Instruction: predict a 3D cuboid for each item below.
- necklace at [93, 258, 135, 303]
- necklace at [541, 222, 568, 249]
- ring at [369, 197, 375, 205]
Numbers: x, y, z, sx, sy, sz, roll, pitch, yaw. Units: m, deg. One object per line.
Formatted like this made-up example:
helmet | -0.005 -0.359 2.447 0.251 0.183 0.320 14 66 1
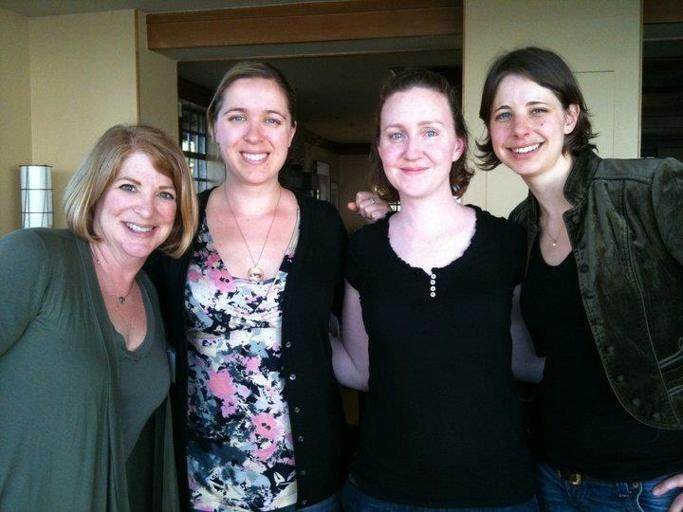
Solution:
necklace | -0.844 0.088 2.450 0.056 0.156 0.115 -9 15 31
necklace | 0.793 -0.079 2.464 0.077 0.078 0.019 -4 -13 38
ring | 0.120 -0.216 2.617 0.017 0.009 0.023 -6 42 7
